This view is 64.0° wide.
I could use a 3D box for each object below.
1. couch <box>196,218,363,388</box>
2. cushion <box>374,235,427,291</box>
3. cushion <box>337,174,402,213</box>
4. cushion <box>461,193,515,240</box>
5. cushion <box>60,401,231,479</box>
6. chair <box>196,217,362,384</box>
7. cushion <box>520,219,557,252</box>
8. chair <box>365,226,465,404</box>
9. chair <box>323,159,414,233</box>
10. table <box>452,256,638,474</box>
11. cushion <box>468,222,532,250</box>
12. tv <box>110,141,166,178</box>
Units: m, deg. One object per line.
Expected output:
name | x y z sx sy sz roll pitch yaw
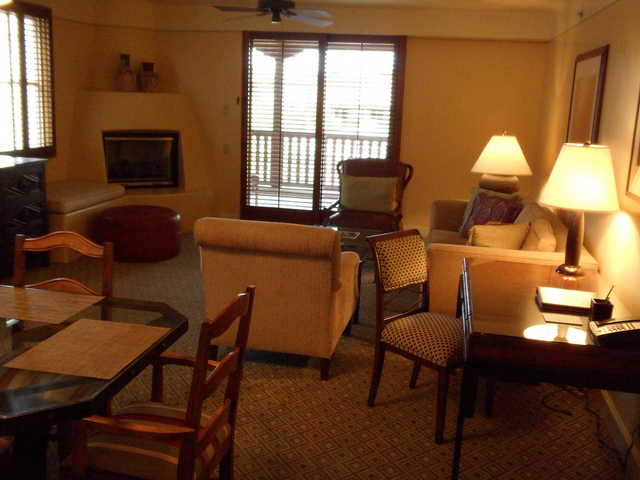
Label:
couch | -0.123 0.313 3.653 1.035 1.130 1.059 5 16 17
cushion | 0.518 0.129 3.227 0.452 0.358 0.061 -11 1 -41
cushion | 0.579 -0.534 6.000 0.834 0.554 0.480 4 11 10
cushion | 1.366 -0.228 4.664 0.387 0.449 0.638 1 8 -11
cushion | -0.670 0.789 2.026 0.508 0.176 0.403 5 14 11
chair | -0.223 0.224 3.644 1.031 1.087 1.031 5 16 18
cushion | 1.566 -0.020 3.674 0.230 0.196 0.423 6 14 15
chair | 0.675 0.541 3.136 0.606 1.093 0.623 -9 14 -43
chair | 0.532 -0.429 6.025 1.050 0.969 0.939 9 16 28
table | 1.111 0.663 2.672 0.765 0.813 0.899 5 14 13
cushion | 1.300 -0.061 3.682 0.440 0.174 0.378 9 17 17
tv | -2.387 -1.055 6.986 0.842 0.584 0.470 0 1 7
